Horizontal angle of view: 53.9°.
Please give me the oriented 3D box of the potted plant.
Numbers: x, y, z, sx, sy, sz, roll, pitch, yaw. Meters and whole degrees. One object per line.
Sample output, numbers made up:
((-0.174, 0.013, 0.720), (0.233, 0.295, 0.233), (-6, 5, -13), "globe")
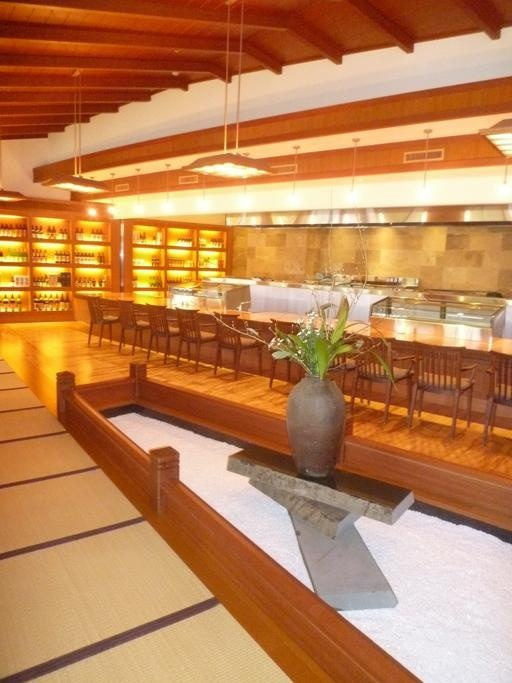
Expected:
((0.301, 0.187, 2.596), (0.842, 0.887, 0.702), (4, 8, 43), "potted plant")

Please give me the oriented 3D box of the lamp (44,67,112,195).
((-2.502, -2.695, 6.992), (0.629, 1.682, 3.949), (1, 6, -21), "lamp")
